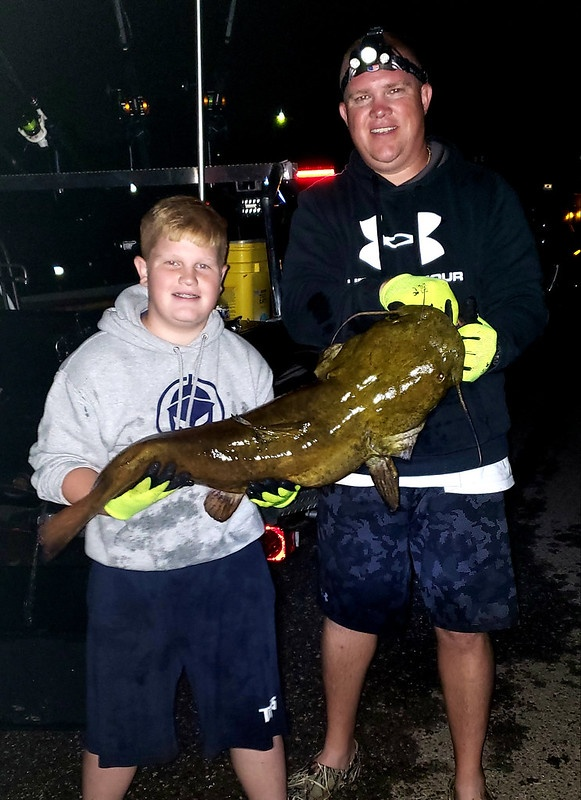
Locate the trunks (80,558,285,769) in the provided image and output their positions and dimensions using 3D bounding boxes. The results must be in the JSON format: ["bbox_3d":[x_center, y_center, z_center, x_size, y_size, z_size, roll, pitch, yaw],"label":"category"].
[{"bbox_3d":[-0.337,0.758,2.192,0.638,0.625,0.268,-1,0,-9],"label":"trunks"}]

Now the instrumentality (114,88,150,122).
[{"bbox_3d":[-1.206,-2.239,5.404,0.226,0.230,0.216,-7,21,-10],"label":"instrumentality"}]

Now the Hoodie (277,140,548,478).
[{"bbox_3d":[0.424,-0.286,2.306,0.969,1.068,0.325,-6,-3,25],"label":"Hoodie"}]

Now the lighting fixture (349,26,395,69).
[{"bbox_3d":[0.265,-1.154,2.321,0.140,0.141,0.139,-4,21,-5],"label":"lighting fixture"}]

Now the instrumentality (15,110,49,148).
[{"bbox_3d":[-1.715,-1.794,4.695,0.188,0.237,0.275,-4,21,-2],"label":"instrumentality"}]

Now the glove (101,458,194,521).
[{"bbox_3d":[-0.368,0.221,1.916,0.202,0.093,0.057,-9,49,26],"label":"glove"}]

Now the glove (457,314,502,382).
[{"bbox_3d":[0.522,-0.151,1.969,0.060,0.115,0.176,1,0,43],"label":"glove"}]

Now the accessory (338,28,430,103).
[{"bbox_3d":[0.316,-1.163,2.409,0.289,0.104,0.256,-11,17,-11],"label":"accessory"}]

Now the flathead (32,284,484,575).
[{"bbox_3d":[-0.020,0.119,2.008,1.264,0.498,0.294,-22,-22,1],"label":"flathead"}]
